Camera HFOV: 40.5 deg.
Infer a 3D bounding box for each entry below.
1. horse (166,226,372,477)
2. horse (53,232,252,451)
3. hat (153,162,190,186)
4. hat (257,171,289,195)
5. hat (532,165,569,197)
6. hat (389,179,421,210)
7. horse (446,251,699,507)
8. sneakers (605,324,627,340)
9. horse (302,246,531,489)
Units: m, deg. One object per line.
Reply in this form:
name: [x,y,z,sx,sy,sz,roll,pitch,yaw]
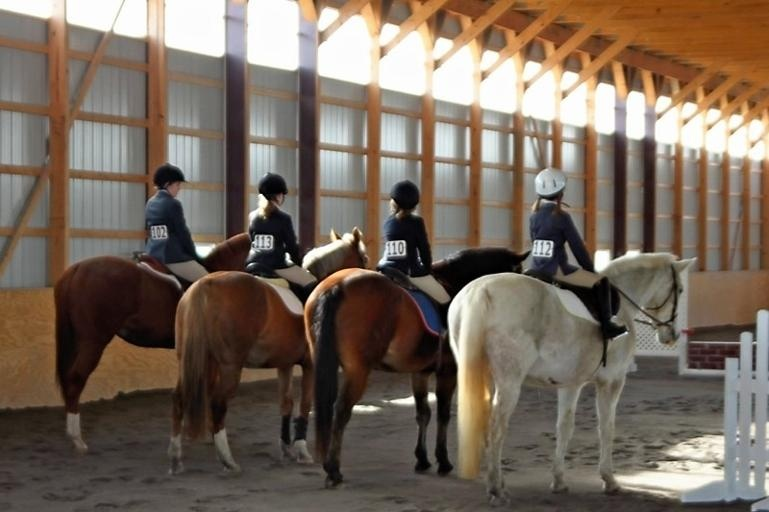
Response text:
horse: [-1.280,1.127,13.149,0.908,2.975,3.459,-1,-4,38]
horse: [-2.977,1.135,13.201,0.687,2.178,2.348,-6,-8,42]
hat: [-2.710,-1.025,13.210,0.287,0.225,0.342,1,21,12]
hat: [-1.338,-0.893,12.681,0.249,0.192,0.286,7,24,24]
hat: [1.953,-0.869,12.126,0.262,0.211,0.382,-1,38,25]
hat: [0.239,-0.730,12.472,0.316,0.343,0.200,0,5,-4]
horse: [2.266,1.352,12.236,3.521,2.955,1.016,5,-2,-34]
sneakers: [2.597,0.832,11.678,0.220,0.145,0.113,-8,-7,19]
horse: [0.515,1.251,12.726,3.418,2.842,0.927,5,-4,-39]
